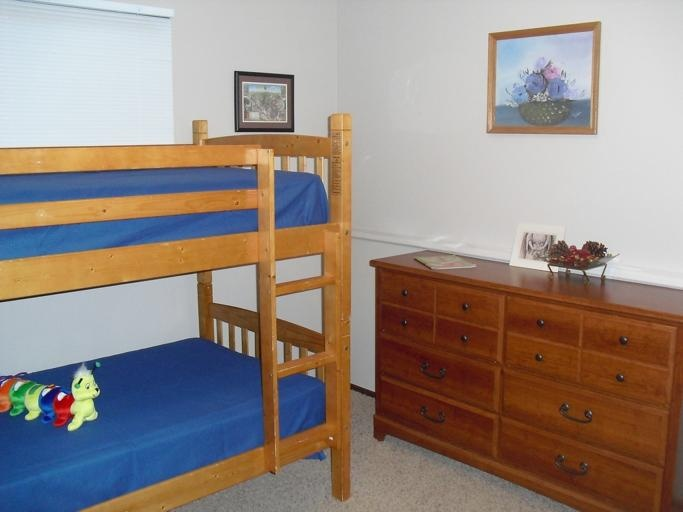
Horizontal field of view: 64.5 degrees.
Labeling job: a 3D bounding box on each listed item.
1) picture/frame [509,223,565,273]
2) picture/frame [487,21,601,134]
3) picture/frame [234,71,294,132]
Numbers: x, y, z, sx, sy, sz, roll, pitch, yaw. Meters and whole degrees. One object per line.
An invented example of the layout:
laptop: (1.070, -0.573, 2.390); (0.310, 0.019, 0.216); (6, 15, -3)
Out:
picture/frame: (1.227, -0.050, 3.364); (0.027, 0.272, 0.292); (3, 1, -44)
picture/frame: (1.292, -1.126, 3.387); (0.760, 0.681, 0.037); (6, 12, 40)
picture/frame: (-0.625, -1.204, 4.202); (0.503, 0.428, 0.039); (-5, 9, -35)
